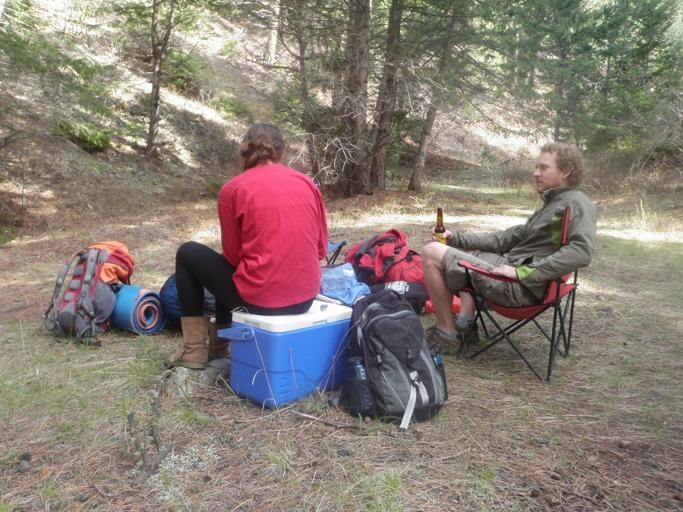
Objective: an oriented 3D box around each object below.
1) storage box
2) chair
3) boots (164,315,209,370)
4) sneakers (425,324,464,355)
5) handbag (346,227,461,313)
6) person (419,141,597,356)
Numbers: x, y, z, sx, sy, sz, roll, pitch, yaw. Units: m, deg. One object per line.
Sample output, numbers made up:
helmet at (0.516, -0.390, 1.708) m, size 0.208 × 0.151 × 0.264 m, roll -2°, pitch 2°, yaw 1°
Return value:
storage box at (-0.483, 0.538, 4.590) m, size 0.728 × 0.696 × 1.134 m, roll 10°, pitch 12°, yaw 43°
chair at (1.621, 0.213, 5.304) m, size 1.111 × 1.660 × 1.097 m, roll 5°, pitch 6°, yaw 27°
boots at (-1.306, 0.741, 4.820) m, size 0.461 × 0.432 × 0.226 m, roll -7°, pitch -14°, yaw 42°
sneakers at (0.854, 0.781, 5.116) m, size 0.495 × 0.213 × 0.175 m, roll 5°, pitch 7°, yaw -23°
handbag at (0.493, 0.050, 5.913) m, size 0.857 × 0.462 × 1.069 m, roll -9°, pitch 27°, yaw -23°
person at (1.496, -0.060, 5.143) m, size 1.386 × 1.909 × 0.893 m, roll 2°, pitch 10°, yaw 7°
